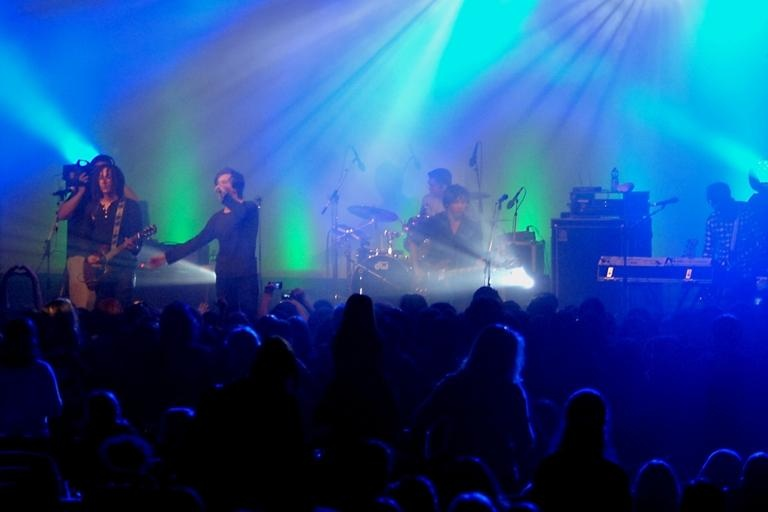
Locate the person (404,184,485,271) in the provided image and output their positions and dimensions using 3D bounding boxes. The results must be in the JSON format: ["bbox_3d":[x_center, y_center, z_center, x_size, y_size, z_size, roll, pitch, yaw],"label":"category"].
[{"bbox_3d":[1.009,-0.443,11.221,1.248,1.412,0.426,2,-4,12],"label":"person"}]

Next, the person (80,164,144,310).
[{"bbox_3d":[-3.213,-0.173,8.404,0.786,1.885,0.221,-1,-9,16],"label":"person"}]
